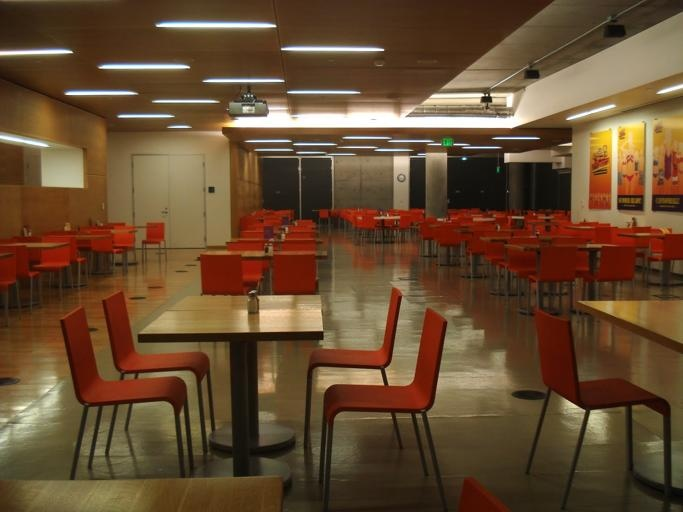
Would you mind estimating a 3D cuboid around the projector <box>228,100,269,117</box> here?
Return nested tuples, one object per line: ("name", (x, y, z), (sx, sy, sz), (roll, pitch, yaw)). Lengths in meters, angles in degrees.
("projector", (-1.505, -2.396, 9.001), (0.566, 0.277, 0.356), (-1, 7, -2))

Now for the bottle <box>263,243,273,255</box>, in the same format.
("bottle", (-0.981, -0.086, 7.394), (0.170, 0.190, 0.192), (-2, 8, -9))

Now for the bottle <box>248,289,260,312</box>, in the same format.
("bottle", (-0.633, 0.317, 3.978), (0.075, 0.162, 0.197), (-2, 7, -8))
